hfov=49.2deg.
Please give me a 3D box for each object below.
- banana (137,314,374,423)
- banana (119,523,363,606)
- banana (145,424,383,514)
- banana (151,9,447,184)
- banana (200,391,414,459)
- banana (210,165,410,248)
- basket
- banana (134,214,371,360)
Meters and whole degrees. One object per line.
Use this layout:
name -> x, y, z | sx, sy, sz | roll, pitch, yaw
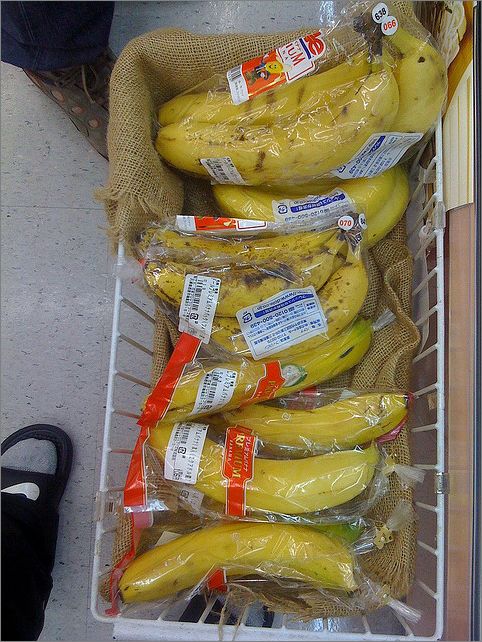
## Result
banana -> 0.034, 0.071, 0.767 | 0.232, 0.075, 0.060 | -25, 61, -6
banana -> -0.014, 0.347, 0.758 | 0.332, 0.081, 0.096 | -5, 47, -7
banana -> 0.029, 0.217, 0.742 | 0.336, 0.037, 0.117 | 6, 77, 4
banana -> 0.070, -0.305, 0.841 | 0.414, 0.225, 0.213 | -11, 65, 7
banana -> 0.096, 0.160, 0.804 | 0.344, 0.107, 0.085 | -8, 26, 13
banana -> 0.092, -0.203, 0.821 | 0.277, 0.167, 0.086 | -3, 92, -8
basket -> 0.012, 0.040, 1.004 | 0.671, 0.390, 1.005 | 0, 93, -2
banana -> 0.032, -0.052, 0.772 | 0.314, 0.175, 0.194 | -6, 47, 9
